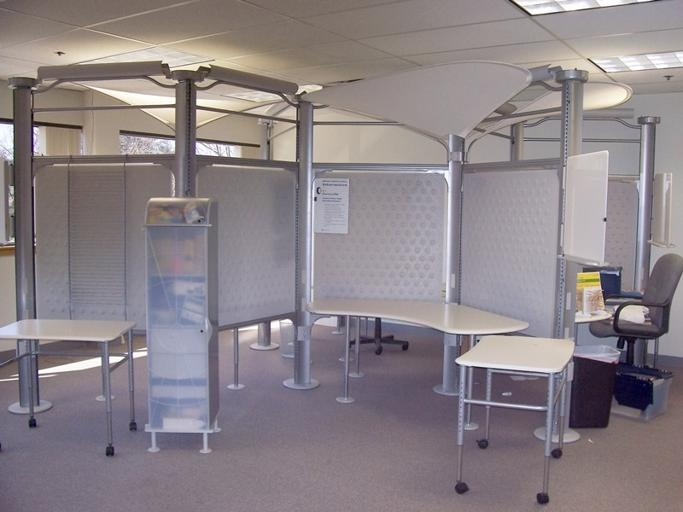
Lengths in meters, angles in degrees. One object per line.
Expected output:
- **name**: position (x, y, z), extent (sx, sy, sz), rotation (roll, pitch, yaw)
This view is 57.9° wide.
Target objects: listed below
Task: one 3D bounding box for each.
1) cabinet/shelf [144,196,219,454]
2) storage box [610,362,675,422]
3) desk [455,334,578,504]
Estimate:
- **cabinet/shelf**: position (-1.307, 0.539, 4.992), extent (0.562, 2.000, 0.521), rotation (0, 11, -4)
- **storage box**: position (2.851, 1.267, 5.845), extent (0.442, 0.420, 0.648), rotation (-3, 4, -37)
- **desk**: position (1.411, 0.850, 4.753), extent (1.049, 1.118, 1.583), rotation (1, 2, 19)
